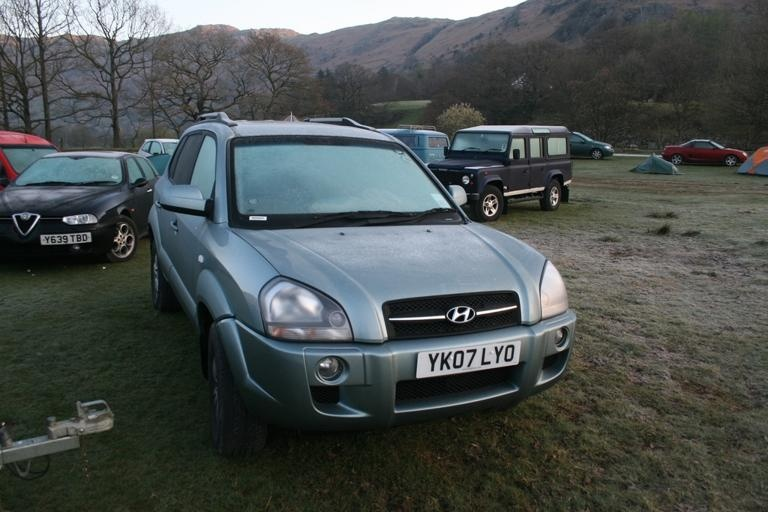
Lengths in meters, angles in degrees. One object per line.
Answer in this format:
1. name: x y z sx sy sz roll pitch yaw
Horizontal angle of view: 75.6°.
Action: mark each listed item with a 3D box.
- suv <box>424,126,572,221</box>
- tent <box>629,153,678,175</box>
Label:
1. suv: 3.133 -2.437 14.033 4.159 2.185 2.386 -8 11 -44
2. tent: 14.726 -4.823 26.737 1.612 0.824 2.007 6 11 35
